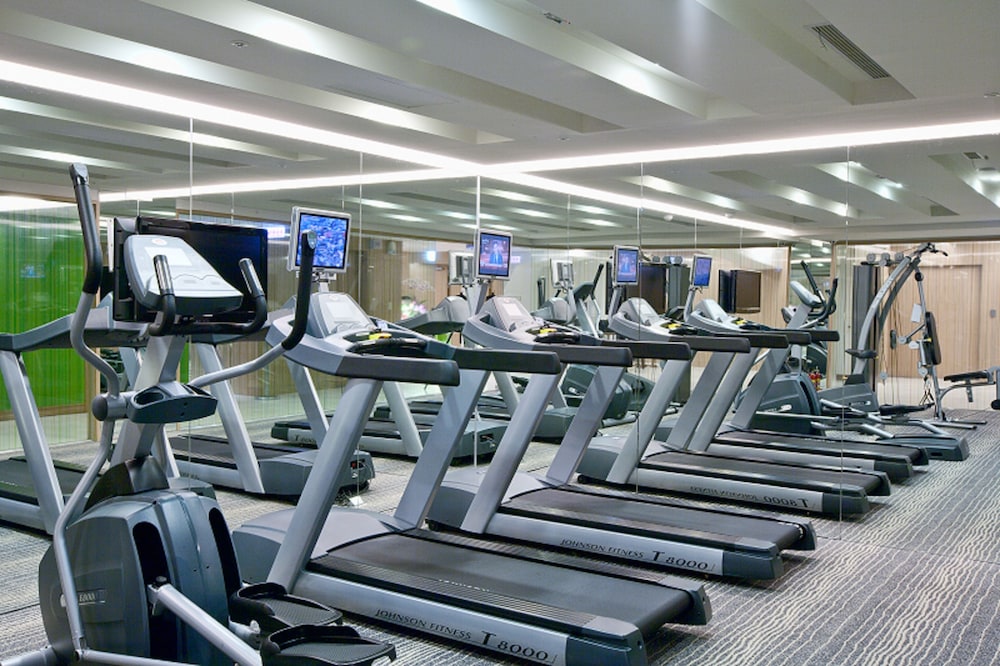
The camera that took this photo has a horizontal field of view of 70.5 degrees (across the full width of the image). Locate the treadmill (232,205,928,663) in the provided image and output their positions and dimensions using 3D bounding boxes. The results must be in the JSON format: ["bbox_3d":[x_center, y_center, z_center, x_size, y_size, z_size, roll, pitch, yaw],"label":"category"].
[{"bbox_3d":[0.108,1.129,4.420,2.559,2.253,3.724,-2,-2,38],"label":"treadmill"}]

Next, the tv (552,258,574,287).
[{"bbox_3d":[0.568,-0.539,6.366,0.223,0.203,0.076,-4,15,-12],"label":"tv"}]

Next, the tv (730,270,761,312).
[{"bbox_3d":[2.016,-0.356,5.775,0.040,0.369,0.353,-11,9,-41],"label":"tv"}]

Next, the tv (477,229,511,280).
[{"bbox_3d":[-0.053,-0.582,5.267,0.123,0.406,0.456,-2,-2,42],"label":"tv"}]

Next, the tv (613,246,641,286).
[{"bbox_3d":[1.035,-0.554,5.804,0.369,0.369,0.052,-1,3,-39],"label":"tv"}]

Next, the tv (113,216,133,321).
[{"bbox_3d":[-1.570,-0.269,2.956,0.083,0.422,0.212,0,7,-28],"label":"tv"}]
